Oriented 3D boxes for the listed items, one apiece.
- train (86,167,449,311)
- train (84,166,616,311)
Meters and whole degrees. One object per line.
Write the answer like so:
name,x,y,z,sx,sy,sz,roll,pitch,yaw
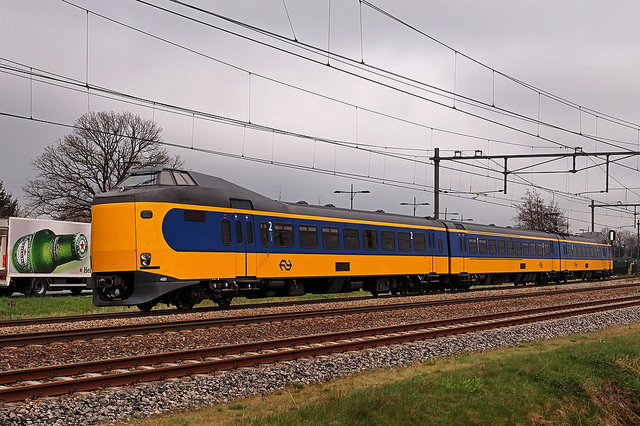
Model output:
train,0.118,1.906,26.310,4.587,5.158,24.460,-4,-6,40
train,7.181,2.202,28.485,37.401,4.654,2.809,4,-10,-31
